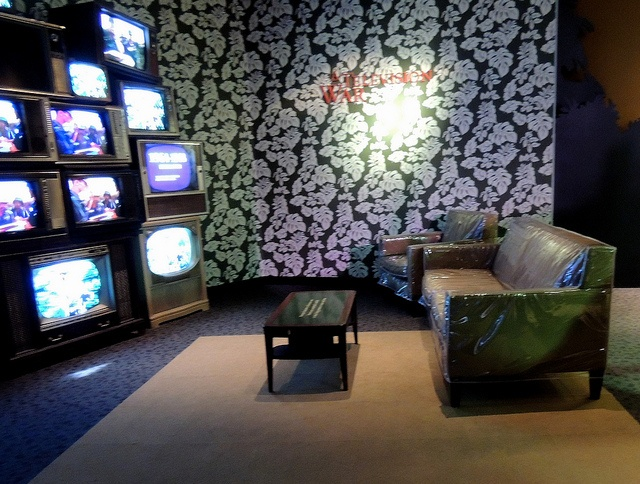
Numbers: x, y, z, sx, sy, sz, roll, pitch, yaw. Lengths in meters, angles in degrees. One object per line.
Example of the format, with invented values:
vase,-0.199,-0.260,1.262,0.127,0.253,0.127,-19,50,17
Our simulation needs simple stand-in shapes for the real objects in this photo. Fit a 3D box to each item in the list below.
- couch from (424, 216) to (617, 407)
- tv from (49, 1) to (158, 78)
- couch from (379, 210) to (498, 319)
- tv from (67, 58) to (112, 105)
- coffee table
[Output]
couch,1.374,0.353,3.523,1.120,0.814,1.693,-8,10,10
tv,-1.884,-1.789,4.030,0.861,0.537,0.460,-5,14,-22
couch,1.159,0.120,4.557,1.142,0.722,1.052,-13,13,-33
tv,-1.952,-1.354,3.819,0.105,0.311,0.317,11,16,36
coffee table,-0.040,0.703,3.410,0.609,0.372,0.956,-2,5,8
